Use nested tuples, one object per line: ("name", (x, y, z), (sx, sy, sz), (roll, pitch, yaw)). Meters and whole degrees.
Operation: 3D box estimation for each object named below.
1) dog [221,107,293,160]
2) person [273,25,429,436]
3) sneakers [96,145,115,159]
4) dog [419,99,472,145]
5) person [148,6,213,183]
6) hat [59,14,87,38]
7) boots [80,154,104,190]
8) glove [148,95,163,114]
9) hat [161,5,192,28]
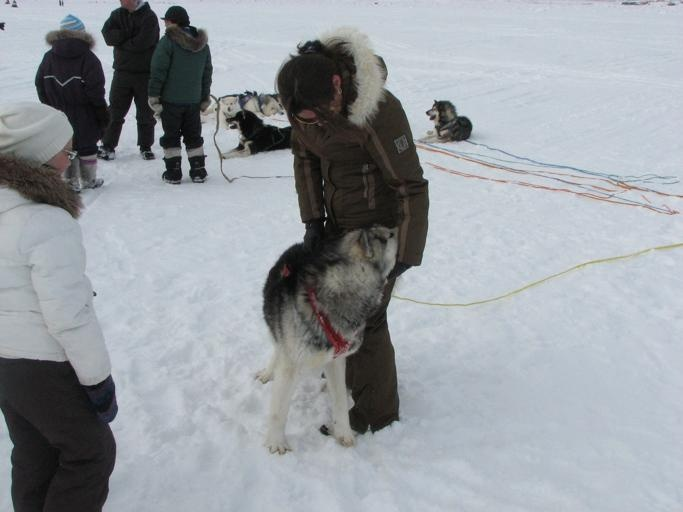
("dog", (-1.155, -1.874, 8.790), (1.218, 0.608, 0.386), (3, 17, 14))
("person", (0.099, -0.097, 3.707), (0.895, 2.516, 0.681), (2, 23, 9))
("sneakers", (-3.188, -1.383, 7.792), (0.106, 0.128, 0.294), (6, 16, 8))
("dog", (1.776, -2.266, 9.535), (0.871, 0.665, 0.594), (16, 34, 29))
("person", (-1.890, -1.878, 6.907), (0.837, 2.055, 0.379), (-23, 31, -40))
("hat", (-2.943, -2.528, 6.293), (0.241, 0.184, 0.381), (-11, 25, -22))
("boots", (-2.812, -0.962, 6.742), (0.298, 0.328, 0.175), (-15, -6, 41))
("glove", (-2.162, -1.771, 6.744), (0.143, 0.192, 0.178), (-11, 25, -20))
("hat", (-1.911, -2.778, 6.690), (0.260, 0.232, 0.357), (-8, 24, -15))
